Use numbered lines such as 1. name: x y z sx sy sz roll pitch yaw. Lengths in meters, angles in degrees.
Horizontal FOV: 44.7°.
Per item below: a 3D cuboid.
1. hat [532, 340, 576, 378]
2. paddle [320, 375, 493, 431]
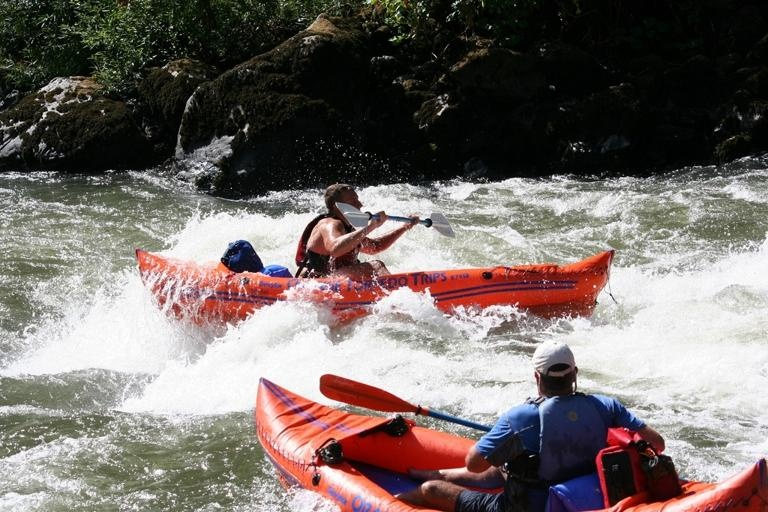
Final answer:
1. hat: 1.884 1.077 10.497 0.515 0.348 0.659 -6 11 -7
2. paddle: 0.282 1.824 11.477 2.397 0.340 0.161 12 -7 5
